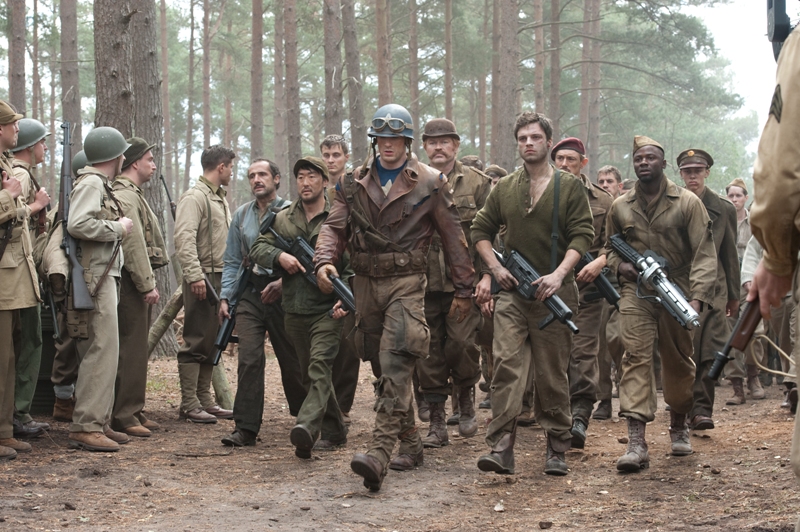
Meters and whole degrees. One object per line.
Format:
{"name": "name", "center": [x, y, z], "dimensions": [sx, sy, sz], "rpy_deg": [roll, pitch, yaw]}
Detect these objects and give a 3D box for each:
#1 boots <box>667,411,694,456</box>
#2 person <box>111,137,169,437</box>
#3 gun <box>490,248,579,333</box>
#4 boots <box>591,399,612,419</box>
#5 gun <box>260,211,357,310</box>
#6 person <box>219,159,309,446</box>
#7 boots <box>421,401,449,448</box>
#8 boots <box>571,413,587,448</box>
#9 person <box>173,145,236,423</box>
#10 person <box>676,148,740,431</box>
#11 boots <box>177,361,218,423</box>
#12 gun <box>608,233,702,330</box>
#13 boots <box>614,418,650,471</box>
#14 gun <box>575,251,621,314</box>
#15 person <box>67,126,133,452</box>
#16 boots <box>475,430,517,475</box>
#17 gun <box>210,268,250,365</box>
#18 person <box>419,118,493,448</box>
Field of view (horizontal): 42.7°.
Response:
{"name": "boots", "center": [3.375, 2.007, 12.460], "dimensions": [0.219, 0.450, 0.635], "rpy_deg": [1, 6, 9]}
{"name": "person", "center": [-3.394, 0.258, 13.247], "dimensions": [0.771, 3.718, 1.162], "rpy_deg": [-2, 5, -17]}
{"name": "gun", "center": [1.539, 0.276, 11.845], "dimensions": [1.080, 0.899, 0.326], "rpy_deg": [1, 2, 36]}
{"name": "boots", "center": [2.798, 2.007, 14.523], "dimensions": [0.343, 0.351, 0.179], "rpy_deg": [5, 1, 8]}
{"name": "gun", "center": [-1.069, -0.060, 12.362], "dimensions": [0.214, 0.634, 1.605], "rpy_deg": [1, 40, -51]}
{"name": "person", "center": [-1.825, 0.502, 13.231], "dimensions": [1.098, 3.607, 1.390], "rpy_deg": [1, -1, 0]}
{"name": "boots", "center": [0.405, 1.989, 13.004], "dimensions": [0.282, 0.605, 0.601], "rpy_deg": [-4, -1, 30]}
{"name": "boots", "center": [2.208, 2.047, 12.791], "dimensions": [0.180, 0.248, 0.565], "rpy_deg": [2, -19, 12]}
{"name": "person", "center": [-2.681, 0.199, 14.078], "dimensions": [0.682, 3.770, 1.371], "rpy_deg": [2, 1, 14]}
{"name": "person", "center": [4.051, 0.168, 14.048], "dimensions": [0.882, 3.377, 1.066], "rpy_deg": [0, 2, -21]}
{"name": "boots", "center": [-2.693, 1.679, 13.919], "dimensions": [0.538, 0.822, 0.593], "rpy_deg": [2, -1, -2]}
{"name": "gun", "center": [3.033, 0.192, 12.309], "dimensions": [0.406, 1.469, 0.552], "rpy_deg": [-31, -29, -14]}
{"name": "boots", "center": [2.703, 2.073, 12.001], "dimensions": [0.215, 0.593, 0.592], "rpy_deg": [-8, -7, 35]}
{"name": "gun", "center": [2.473, 0.185, 13.044], "dimensions": [0.125, 0.762, 0.300], "rpy_deg": [-26, -12, -13]}
{"name": "person", "center": [-3.632, 0.241, 12.466], "dimensions": [0.848, 3.349, 1.121], "rpy_deg": [3, -2, 2]}
{"name": "boots", "center": [1.105, 2.070, 11.627], "dimensions": [0.254, 0.532, 0.529], "rpy_deg": [-13, -28, 40]}
{"name": "gun", "center": [-2.190, 0.590, 13.152], "dimensions": [0.444, 1.219, 0.194], "rpy_deg": [-1, -27, 40]}
{"name": "person", "center": [0.656, 0.160, 13.213], "dimensions": [1.086, 3.932, 1.365], "rpy_deg": [1, 1, 12]}
